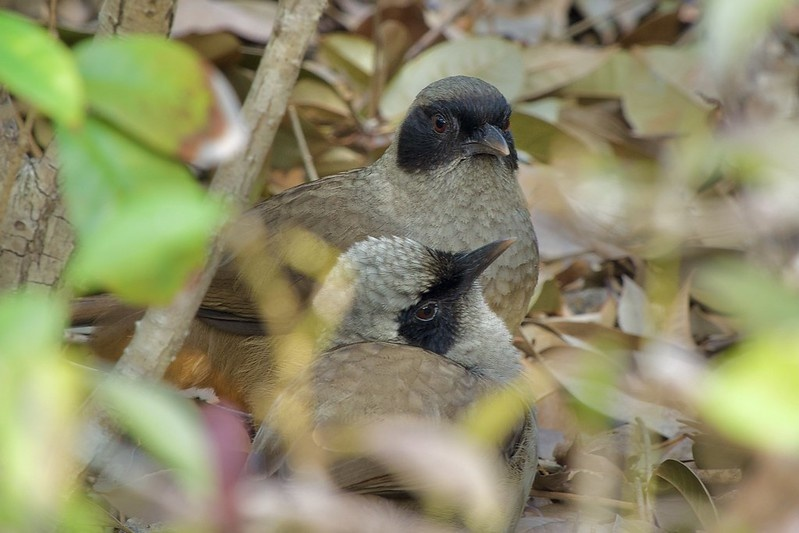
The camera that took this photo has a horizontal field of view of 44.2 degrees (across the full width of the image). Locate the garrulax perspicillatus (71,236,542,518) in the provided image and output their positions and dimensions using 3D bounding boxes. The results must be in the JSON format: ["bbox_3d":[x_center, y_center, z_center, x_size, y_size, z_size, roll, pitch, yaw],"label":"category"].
[{"bbox_3d":[-0.243,0.449,3.018,1.141,1.005,0.708,2,-8,-30],"label":"garrulax perspicillatus"}]
